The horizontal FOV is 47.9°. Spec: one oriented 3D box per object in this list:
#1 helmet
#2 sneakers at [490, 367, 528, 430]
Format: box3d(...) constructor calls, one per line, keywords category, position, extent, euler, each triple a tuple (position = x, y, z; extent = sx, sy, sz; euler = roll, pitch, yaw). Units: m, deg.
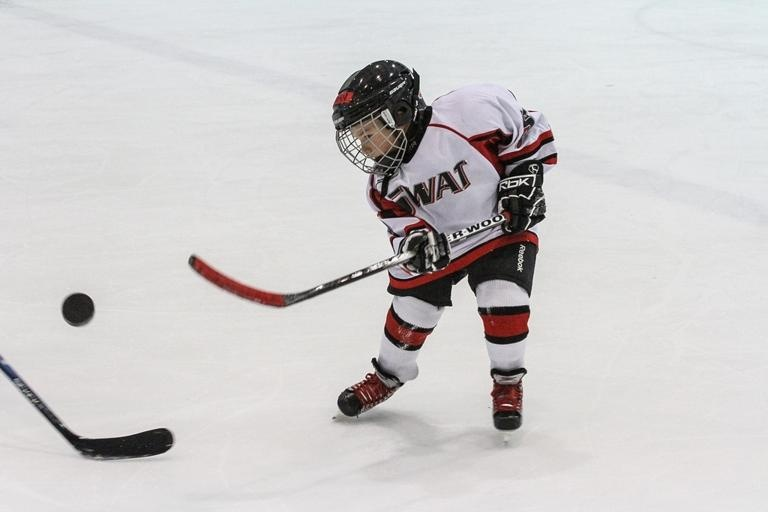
box3d(category="helmet", position=(-0.021, -0.644, 4.111), extent=(0.435, 0.543, 0.255), euler=(2, 19, -2))
box3d(category="sneakers", position=(0.573, 0.679, 4.036), extent=(0.168, 0.280, 0.225), euler=(5, 19, 8))
